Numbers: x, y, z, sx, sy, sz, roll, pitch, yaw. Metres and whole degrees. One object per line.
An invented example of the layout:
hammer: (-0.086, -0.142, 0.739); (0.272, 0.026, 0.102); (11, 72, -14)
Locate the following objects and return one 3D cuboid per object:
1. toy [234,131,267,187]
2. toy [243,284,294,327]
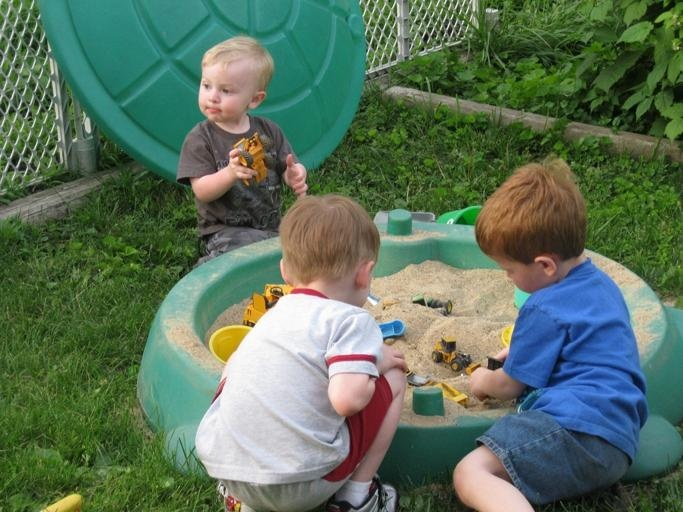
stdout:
toy: (-0.425, -0.478, 3.243); (0.192, 0.228, 0.103); (-26, 19, -33)
toy: (-0.317, 0.200, 2.950); (0.148, 0.152, 0.222); (10, 34, 29)
